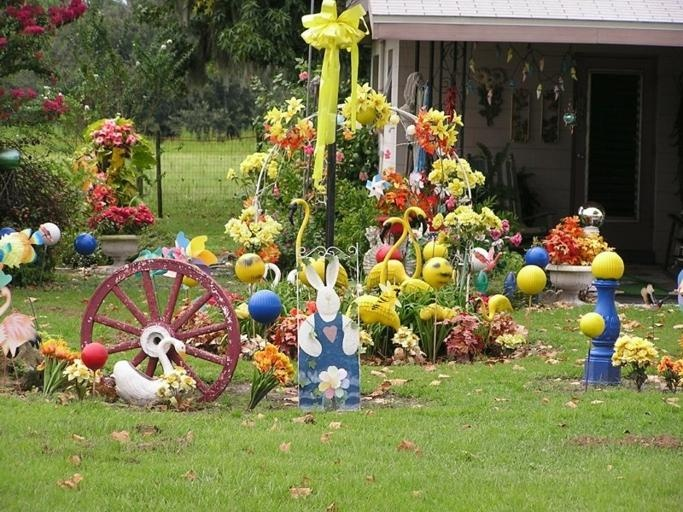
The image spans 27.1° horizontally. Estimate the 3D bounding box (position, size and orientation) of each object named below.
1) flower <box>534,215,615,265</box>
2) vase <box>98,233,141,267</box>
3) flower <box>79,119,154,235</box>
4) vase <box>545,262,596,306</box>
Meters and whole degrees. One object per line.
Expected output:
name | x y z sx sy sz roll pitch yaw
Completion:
flower | 3.104 -0.142 18.956 0.660 0.726 0.793 -2 12 -12
vase | -3.095 -0.085 19.757 0.435 0.364 0.445 -1 4 -30
flower | -3.135 -1.070 19.617 1.048 1.621 0.749 1 2 -13
vase | 3.027 0.397 18.795 0.506 0.415 0.542 0 -1 -9
